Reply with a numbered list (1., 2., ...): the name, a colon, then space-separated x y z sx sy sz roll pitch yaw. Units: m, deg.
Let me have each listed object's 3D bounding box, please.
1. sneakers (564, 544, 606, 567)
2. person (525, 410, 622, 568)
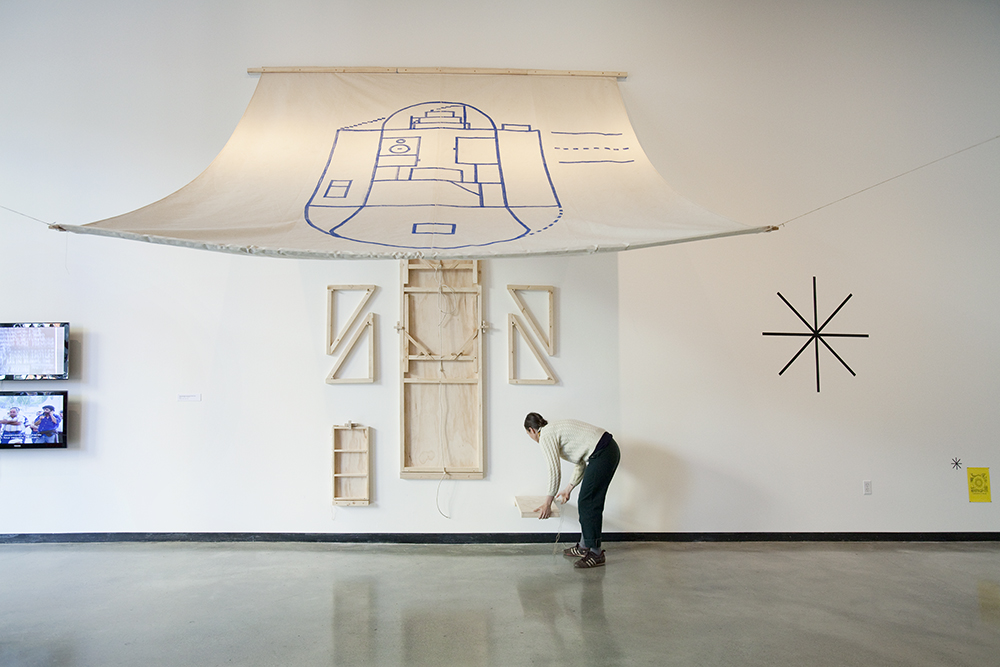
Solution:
1. sneakers: 0.916 2.375 9.497 0.482 0.189 0.165 2 -4 5
2. person: 0.788 1.663 9.492 0.923 1.583 0.342 1 -5 1
